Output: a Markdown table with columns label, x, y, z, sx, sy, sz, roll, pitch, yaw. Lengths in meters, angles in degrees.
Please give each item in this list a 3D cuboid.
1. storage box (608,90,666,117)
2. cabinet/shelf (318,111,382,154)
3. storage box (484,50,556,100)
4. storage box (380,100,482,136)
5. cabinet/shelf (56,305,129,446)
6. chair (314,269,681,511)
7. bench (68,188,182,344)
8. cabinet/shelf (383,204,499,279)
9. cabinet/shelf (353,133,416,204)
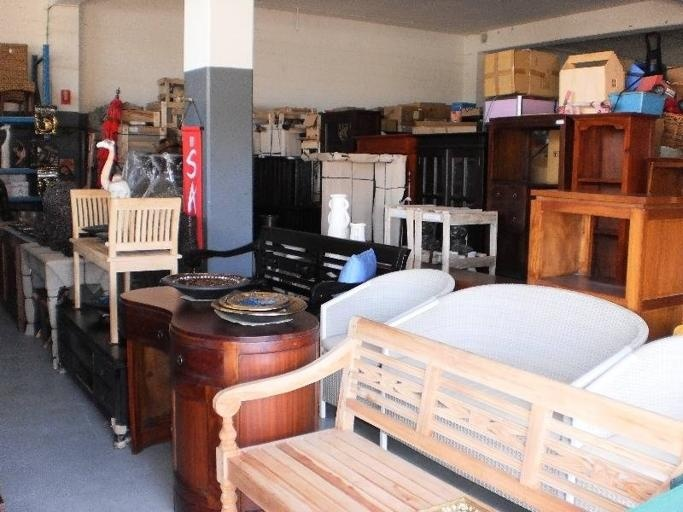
| label | x | y | z | sx | sy | sz | roll | pitch | yaw |
| --- | --- | --- | --- | --- | --- | --- | --- | --- | --- |
| storage box | 2.273 | -1.164 | 4.302 | 0.252 | 0.138 | 0.342 | -4 | 8 | -27 |
| cabinet/shelf | 0.178 | -2.091 | 9.651 | 0.906 | 0.722 | 0.701 | 8 | 15 | 39 |
| storage box | 2.143 | -2.139 | 6.567 | 0.935 | 0.382 | 0.886 | 7 | 16 | 38 |
| storage box | 1.541 | -2.316 | 9.389 | 1.438 | 0.303 | 1.238 | -6 | 11 | -35 |
| cabinet/shelf | -1.698 | 0.841 | 3.837 | 0.353 | 0.388 | 0.951 | -3 | 15 | -31 |
| chair | 0.709 | 0.446 | 3.136 | 0.935 | 0.764 | 1.576 | 0 | 9 | -37 |
| bench | -1.746 | 0.000 | 4.519 | 0.639 | 0.948 | 1.393 | -9 | 13 | -34 |
| cabinet/shelf | 0.982 | -0.234 | 5.306 | 0.784 | 0.702 | 1.055 | -1 | 5 | -30 |
| cabinet/shelf | 0.712 | -1.304 | 8.800 | 0.514 | 1.033 | 1.241 | 7 | 4 | -39 |
